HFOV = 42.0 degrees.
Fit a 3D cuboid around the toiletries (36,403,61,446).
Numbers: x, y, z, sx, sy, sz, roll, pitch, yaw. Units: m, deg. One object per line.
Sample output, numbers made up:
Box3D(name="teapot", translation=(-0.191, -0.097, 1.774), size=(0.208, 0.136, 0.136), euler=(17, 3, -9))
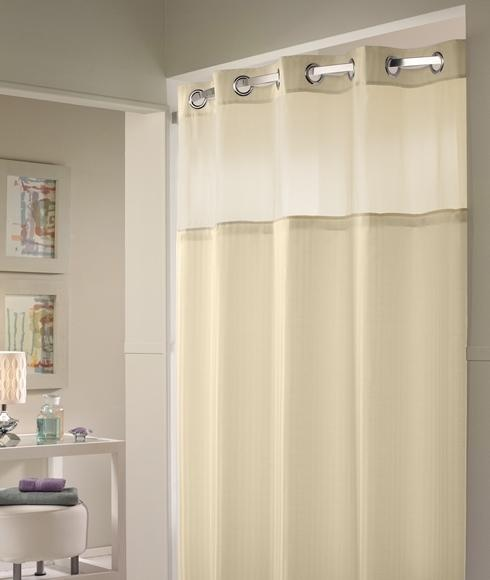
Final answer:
Box3D(name="toiletries", translation=(-0.739, 0.506, 2.395), size=(0.075, 0.141, 0.082), euler=(1, -23, -19))
